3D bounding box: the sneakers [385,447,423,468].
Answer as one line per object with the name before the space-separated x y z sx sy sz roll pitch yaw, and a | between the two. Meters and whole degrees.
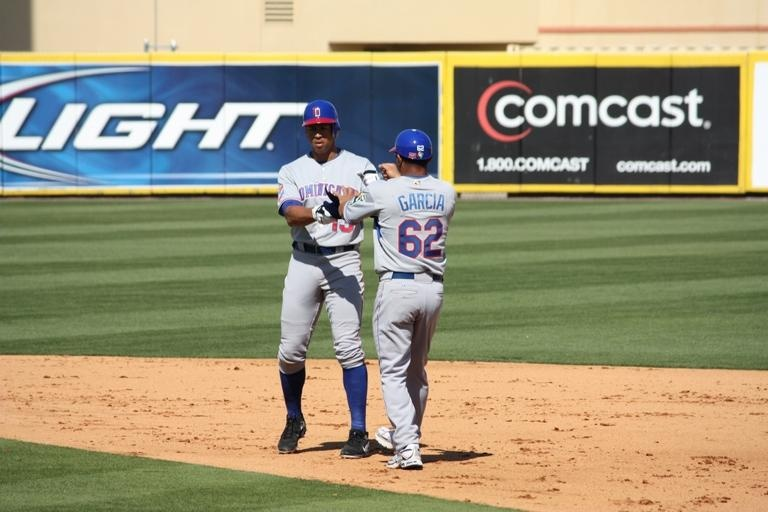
sneakers | 0.250 2.724 18.760 0.218 0.248 0.539 -3 1 -44
